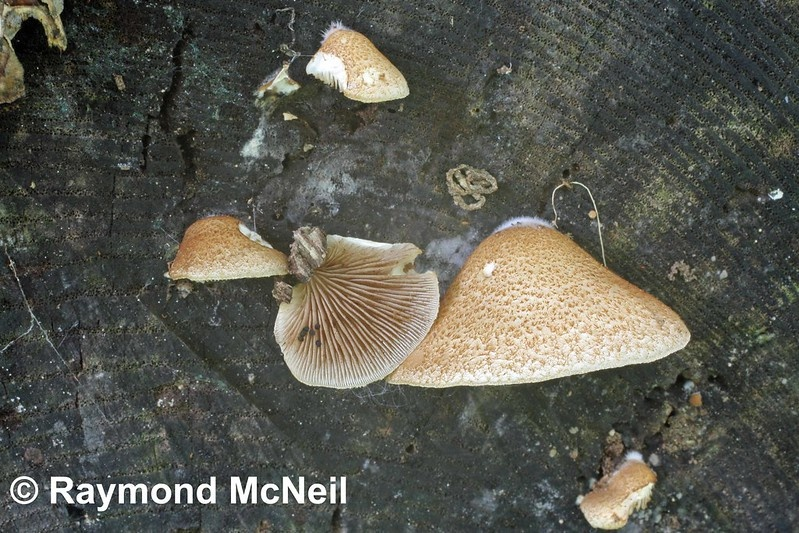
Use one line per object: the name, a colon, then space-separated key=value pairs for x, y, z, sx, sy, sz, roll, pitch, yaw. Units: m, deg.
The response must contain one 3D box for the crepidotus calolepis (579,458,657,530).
crepidotus calolepis: x=2.465 y=2.555 z=11.318 sx=0.873 sy=0.350 sz=0.624 roll=-43 pitch=88 yaw=2
